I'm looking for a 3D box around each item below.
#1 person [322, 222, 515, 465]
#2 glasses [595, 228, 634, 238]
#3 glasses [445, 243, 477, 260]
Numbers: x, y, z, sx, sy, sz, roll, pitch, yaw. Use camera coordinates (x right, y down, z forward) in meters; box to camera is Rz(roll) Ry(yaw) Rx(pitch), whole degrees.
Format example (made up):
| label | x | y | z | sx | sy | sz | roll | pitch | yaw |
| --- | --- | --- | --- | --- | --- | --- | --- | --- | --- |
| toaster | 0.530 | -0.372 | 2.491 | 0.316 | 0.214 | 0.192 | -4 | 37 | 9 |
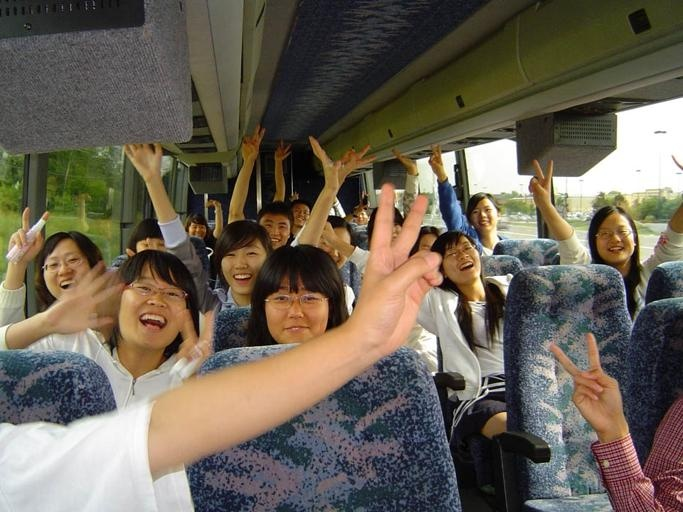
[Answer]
| label | x | y | z | sx | sy | sz | roll | pitch | yaw |
| --- | --- | --- | --- | --- | --- | --- | --- | --- | --- |
| person | 0.353 | 0.607 | 3.066 | 0.890 | 1.264 | 1.082 | -1 | -21 | 0 |
| glasses | 1.706 | -0.138 | 3.054 | 0.096 | 0.030 | 0.100 | -1 | -19 | 13 |
| glasses | 0.715 | -0.027 | 2.920 | 0.115 | 0.032 | 0.110 | -5 | -37 | 0 |
